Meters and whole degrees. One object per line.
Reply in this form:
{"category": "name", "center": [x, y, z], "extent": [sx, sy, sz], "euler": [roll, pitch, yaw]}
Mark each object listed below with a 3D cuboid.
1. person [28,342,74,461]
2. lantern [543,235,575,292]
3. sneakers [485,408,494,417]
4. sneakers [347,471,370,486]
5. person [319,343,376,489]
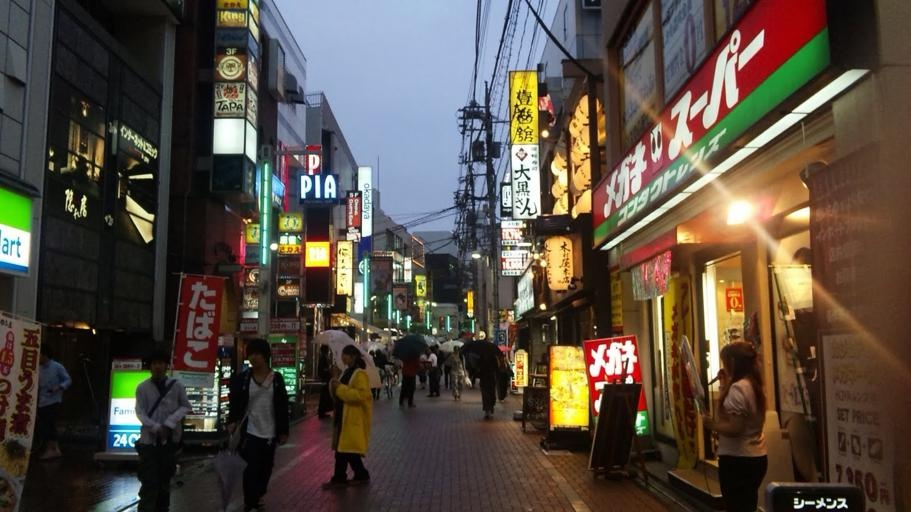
{"category": "person", "center": [-9.116, 3.245, 16.842], "extent": [0.659, 2.487, 0.947], "euler": [1, -1, -41]}
{"category": "lantern", "center": [3.111, 0.240, 22.933], "extent": [0.815, 1.663, 0.609], "euler": [0, -1, 18]}
{"category": "sneakers", "center": [1.072, 5.017, 23.972], "extent": [0.151, 0.212, 0.487], "euler": [-6, -20, 18]}
{"category": "sneakers", "center": [-1.919, 4.385, 14.792], "extent": [0.431, 0.217, 0.169], "euler": [3, -4, -19]}
{"category": "person", "center": [-2.101, 3.127, 14.832], "extent": [0.790, 2.704, 0.958], "euler": [0, -1, -9]}
